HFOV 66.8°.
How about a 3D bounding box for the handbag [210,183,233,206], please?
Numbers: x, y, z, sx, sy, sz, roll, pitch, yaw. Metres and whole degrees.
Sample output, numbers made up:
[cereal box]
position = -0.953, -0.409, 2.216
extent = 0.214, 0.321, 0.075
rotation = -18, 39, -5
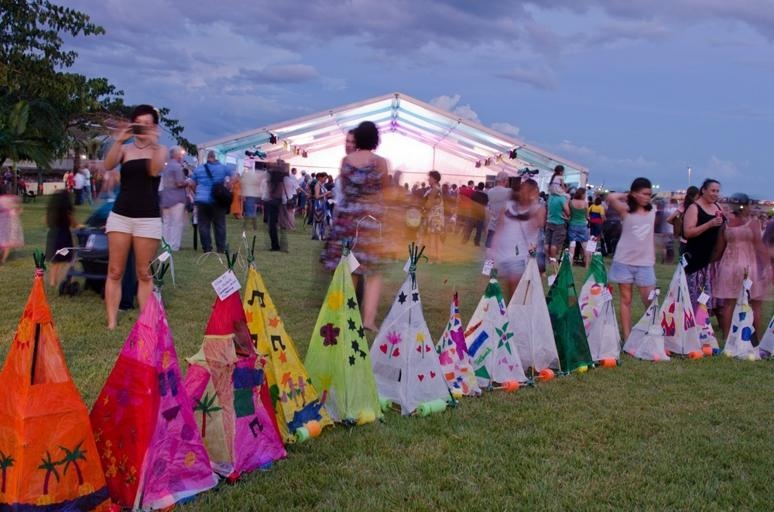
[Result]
[handbag]
position = -3.156, -1.171, 11.155
extent = 0.228, 0.476, 0.431
rotation = -6, 14, 6

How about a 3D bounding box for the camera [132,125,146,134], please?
[camera]
position = -2.433, -1.244, 5.768
extent = 0.123, 0.079, 0.107
rotation = 2, 5, -24
